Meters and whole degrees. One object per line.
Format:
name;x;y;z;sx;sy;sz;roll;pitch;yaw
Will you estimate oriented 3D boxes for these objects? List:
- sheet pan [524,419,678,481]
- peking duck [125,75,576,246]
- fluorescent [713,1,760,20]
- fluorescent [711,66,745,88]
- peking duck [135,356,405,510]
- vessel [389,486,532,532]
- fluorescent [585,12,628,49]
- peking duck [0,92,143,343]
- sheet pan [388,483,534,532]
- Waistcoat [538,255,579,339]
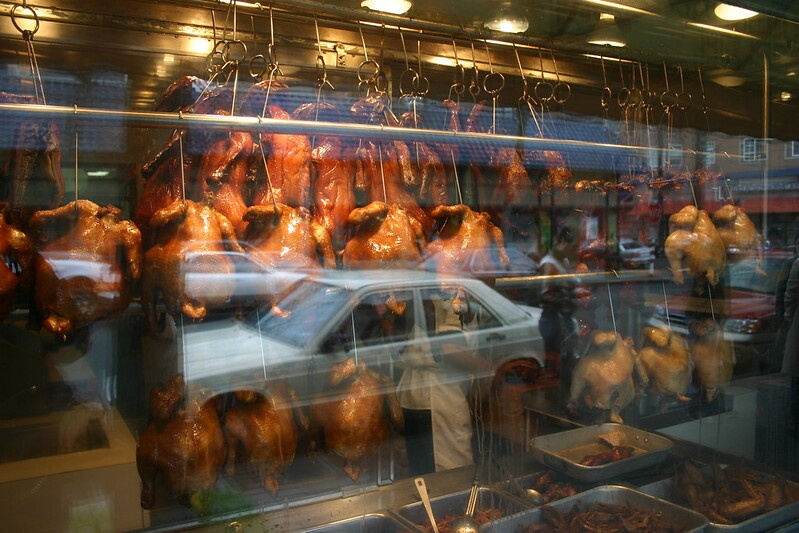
sheet pan;0.941;0.865;3.170;0.445;0.076;0.323;-4;7;-29
peking duck;-0.155;-0.373;2.990;1.762;0.687;0.688;0;6;-18
fluorescent;1.527;-1.159;3.073;0.102;0.029;0.108;-2;-12;32
fluorescent;1.643;-0.941;3.375;0.112;0.026;0.109;16;-15;2
peking duck;-0.536;0.578;2.641;0.809;0.340;0.547;-6;40;-19
vessel;0.258;1.040;2.859;0.354;0.117;0.234;-4;-1;-25
fluorescent;0.950;-1.060;3.026;0.108;0.115;0.109;1;-17;-1
peking duck;-1.159;-0.106;2.411;0.548;0.866;0.253;-2;-5;-30
sheet pan;0.261;0.963;2.848;0.357;0.118;0.238;-12;10;-19
Waistcoat;0.708;0.134;3.181;0.229;0.365;0.138;-5;9;-33
